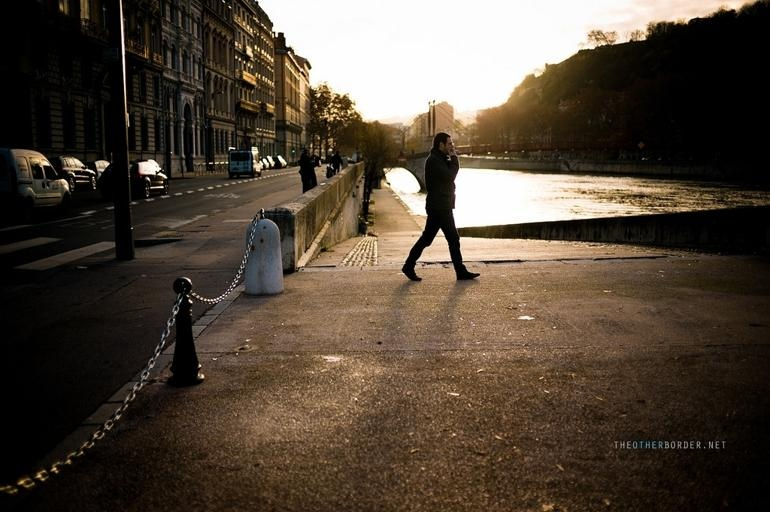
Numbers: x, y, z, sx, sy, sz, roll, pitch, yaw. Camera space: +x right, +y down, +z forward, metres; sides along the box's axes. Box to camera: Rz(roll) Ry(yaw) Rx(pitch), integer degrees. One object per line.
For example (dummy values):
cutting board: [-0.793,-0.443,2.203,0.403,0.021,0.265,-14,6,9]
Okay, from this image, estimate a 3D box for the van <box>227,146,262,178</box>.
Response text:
van: [-11.332,-7.535,50.591,2.004,2.277,3.483,2,11,16]
